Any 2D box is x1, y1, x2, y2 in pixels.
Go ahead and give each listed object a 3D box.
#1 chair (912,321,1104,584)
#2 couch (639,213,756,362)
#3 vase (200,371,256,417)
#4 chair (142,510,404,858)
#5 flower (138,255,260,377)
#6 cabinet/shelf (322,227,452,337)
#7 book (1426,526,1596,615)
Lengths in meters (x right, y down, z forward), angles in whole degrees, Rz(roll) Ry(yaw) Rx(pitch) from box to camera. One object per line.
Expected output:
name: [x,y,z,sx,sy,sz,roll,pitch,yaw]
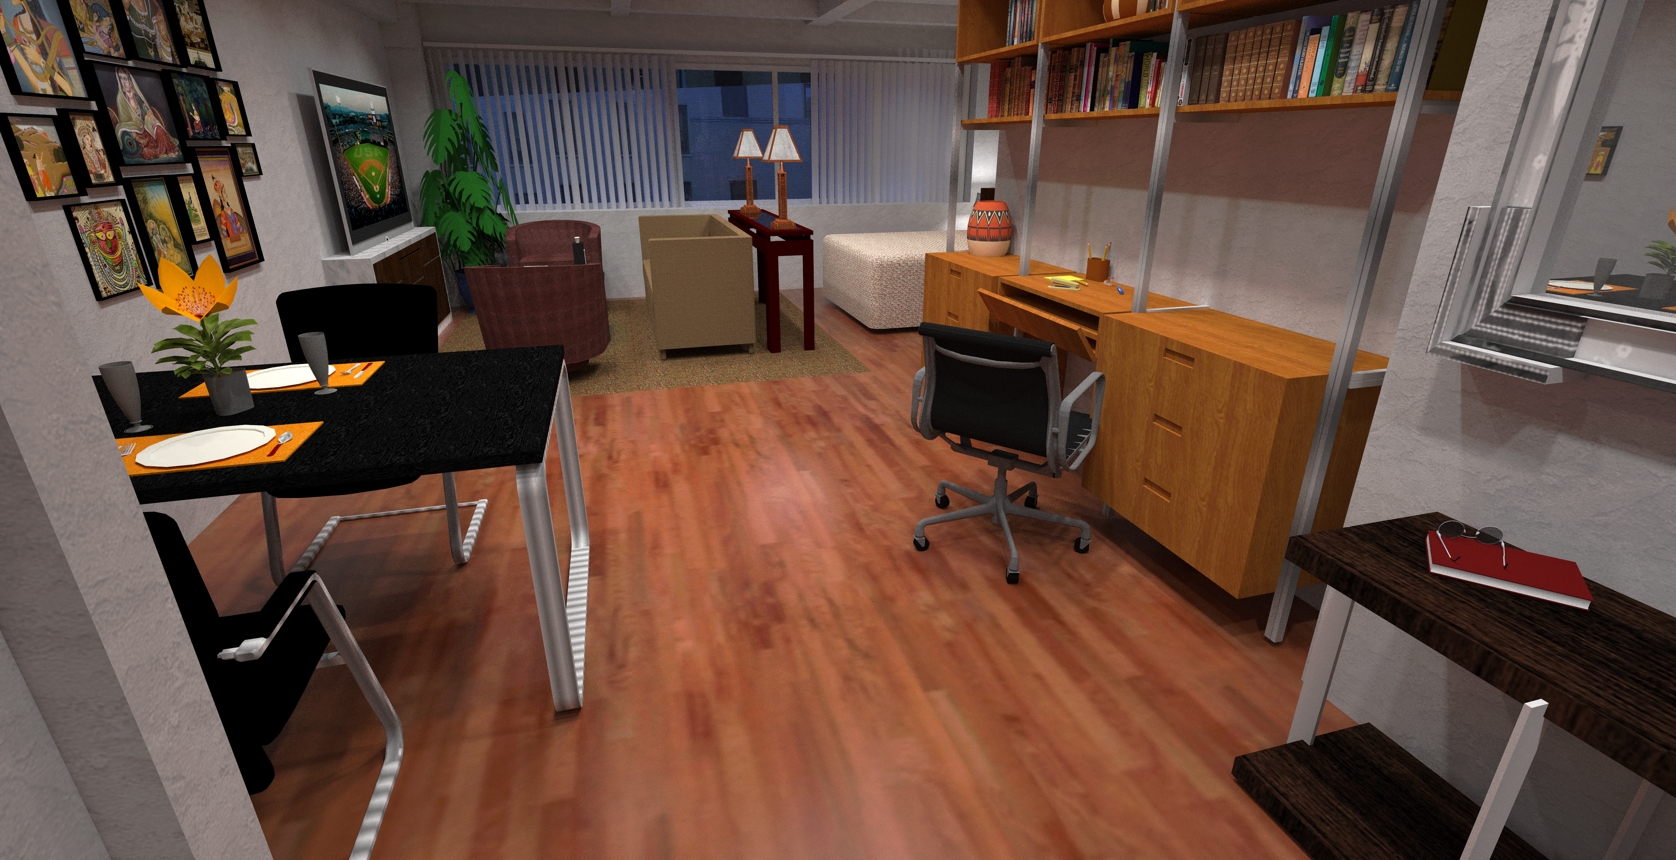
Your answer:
chair: [0.953,0.026,4.887,0.981,1.170,0.897,14,16,36]
couch: [-1.159,-1.152,7.469,0.712,0.710,1.514,-2,24,-7]
vase: [-2.761,-0.159,4.020,0.155,0.172,0.130,-22,35,-35]
chair: [-2.133,0.969,3.513,0.433,1.607,0.654,4,24,13]
flower: [-2.883,-0.508,4.057,0.382,0.423,0.372,-6,13,-12]
cabinet/shelf: [-3.975,-1.171,7.765,0.519,0.945,1.948,-1,23,-5]
book: [2.607,0.526,3.472,0.393,0.059,0.370,28,33,28]
